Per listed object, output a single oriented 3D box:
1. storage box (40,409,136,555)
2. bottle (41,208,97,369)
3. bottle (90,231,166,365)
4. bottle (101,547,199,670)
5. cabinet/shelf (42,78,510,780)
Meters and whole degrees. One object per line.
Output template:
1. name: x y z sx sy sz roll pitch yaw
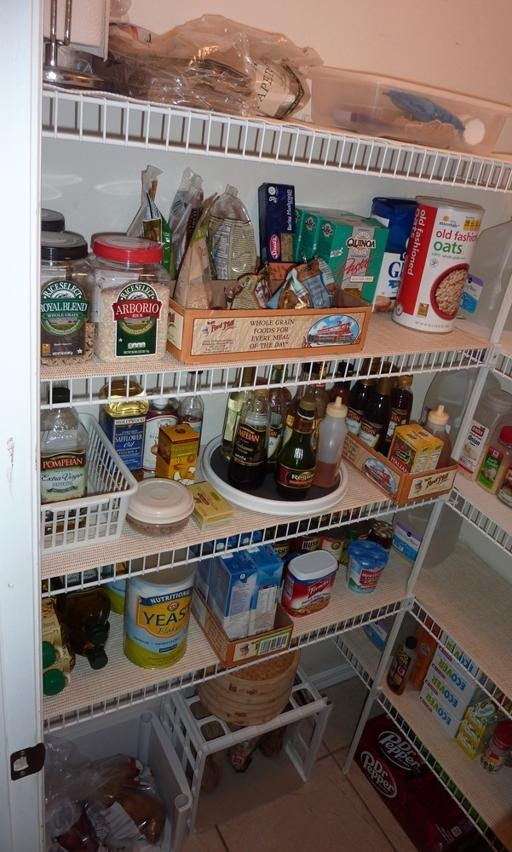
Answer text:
1. storage box: -0.294 0.076 0.953 0.155 0.086 0.211 -3 46 -32
2. bottle: -0.248 -0.180 0.740 0.064 0.164 0.179 0 27 -19
3. bottle: -0.185 -0.172 0.774 0.117 0.161 0.121 7 25 -3
4. bottle: -0.207 0.341 1.209 0.203 0.238 0.214 -6 32 -17
5. cabinet/shelf: 0.056 0.135 1.202 0.978 1.360 0.464 -3 27 -23
